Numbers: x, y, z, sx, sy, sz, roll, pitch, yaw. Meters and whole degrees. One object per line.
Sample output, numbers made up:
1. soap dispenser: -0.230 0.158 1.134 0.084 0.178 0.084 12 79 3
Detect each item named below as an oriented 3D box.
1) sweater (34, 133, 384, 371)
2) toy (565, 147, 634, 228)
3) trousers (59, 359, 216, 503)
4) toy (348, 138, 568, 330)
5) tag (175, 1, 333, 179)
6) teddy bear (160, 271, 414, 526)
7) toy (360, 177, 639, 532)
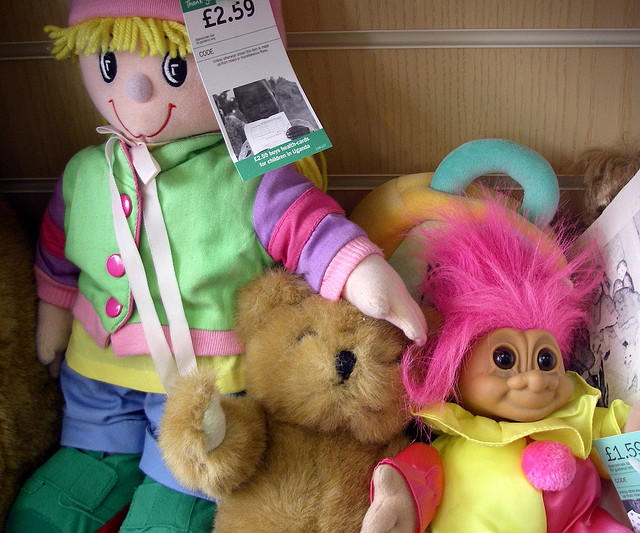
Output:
1. sweater: -0.180 -0.011 0.878 0.327 0.300 0.148 -6 2 -2
2. toy: 0.523 -0.143 1.027 0.097 0.128 0.122 4 14 -5
3. trousers: -0.321 0.249 0.964 0.245 0.142 0.176 35 -6 -2
4. toy: 0.297 -0.085 1.002 0.246 0.277 0.279 3 36 15
5. tag: -0.092 -0.270 0.823 0.152 0.210 0.170 -18 36 -18
6. teddy bear: 0.002 0.205 0.949 0.319 0.495 0.320 7 -10 -6
7. toy: 0.245 0.102 0.975 0.461 0.637 0.409 -2 0 -15
